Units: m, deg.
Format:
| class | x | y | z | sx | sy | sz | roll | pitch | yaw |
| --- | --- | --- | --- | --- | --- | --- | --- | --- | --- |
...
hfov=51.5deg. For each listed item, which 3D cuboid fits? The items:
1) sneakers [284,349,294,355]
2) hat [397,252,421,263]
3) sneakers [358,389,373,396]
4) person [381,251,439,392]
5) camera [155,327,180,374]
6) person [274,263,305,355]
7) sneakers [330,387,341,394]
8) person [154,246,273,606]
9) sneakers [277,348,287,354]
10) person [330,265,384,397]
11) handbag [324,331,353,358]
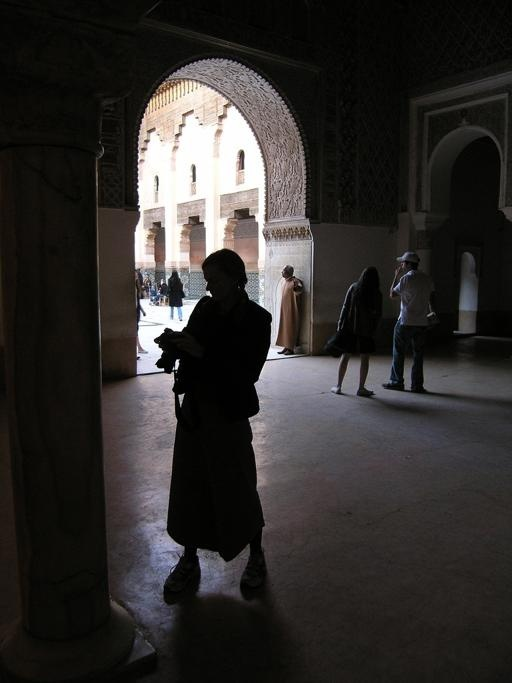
| class | x | y | z | sx | sy | sz | roll | pitch | yaw |
| --- | --- | --- | --- | --- | --- | --- | --- | --- | --- |
| sneakers | 0.515 | 0.156 | 8.404 | 0.150 | 0.149 | 0.059 | 5 | -1 | -29 |
| hat | 1.648 | -0.904 | 5.710 | 0.155 | 0.123 | 0.256 | 0 | 6 | 5 |
| sneakers | 1.139 | 0.519 | 5.513 | 0.139 | 0.095 | 0.078 | -2 | 4 | -11 |
| person | 1.668 | -0.218 | 5.818 | 0.534 | 1.504 | 0.560 | 1 | 4 | 15 |
| camera | -0.305 | 0.024 | 1.905 | 0.068 | 0.166 | 0.083 | -16 | 29 | -15 |
| person | 0.522 | -0.484 | 8.252 | 0.425 | 1.362 | 0.425 | 0 | 4 | 5 |
| sneakers | 0.868 | 0.526 | 5.710 | 0.038 | 0.074 | 0.153 | 0 | -7 | -9 |
| person | -0.159 | 0.236 | 2.011 | 0.420 | 1.153 | 0.262 | -1 | 4 | -14 |
| sneakers | 0.412 | 0.150 | 8.415 | 0.155 | 0.096 | 0.055 | 0 | 1 | 38 |
| person | 1.067 | -0.120 | 5.691 | 0.482 | 1.328 | 1.073 | 1 | 5 | 12 |
| handbag | 0.896 | 0.028 | 5.779 | 0.184 | 0.298 | 0.148 | 30 | 2 | -27 |
